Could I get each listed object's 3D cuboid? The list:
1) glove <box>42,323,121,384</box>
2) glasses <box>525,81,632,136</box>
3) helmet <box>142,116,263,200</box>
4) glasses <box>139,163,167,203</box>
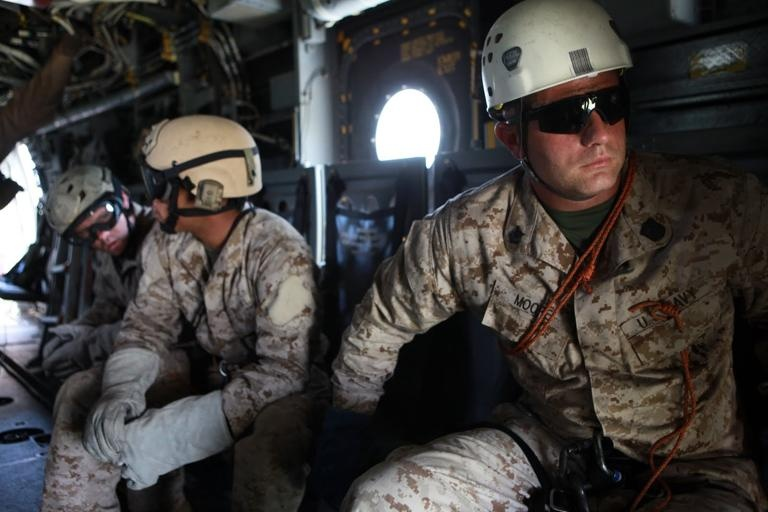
[{"bbox_3d":[-2.343,0.681,5.729,0.738,0.495,0.273,-32,-13,36],"label":"glove"},{"bbox_3d":[0.897,-0.670,3.391,0.471,0.222,0.128,0,3,11],"label":"glasses"},{"bbox_3d":[-1.040,-0.610,4.250,0.569,0.454,0.456,27,15,13],"label":"helmet"},{"bbox_3d":[-1.338,-0.430,4.274,0.203,0.194,0.171,-4,20,3],"label":"glasses"}]
